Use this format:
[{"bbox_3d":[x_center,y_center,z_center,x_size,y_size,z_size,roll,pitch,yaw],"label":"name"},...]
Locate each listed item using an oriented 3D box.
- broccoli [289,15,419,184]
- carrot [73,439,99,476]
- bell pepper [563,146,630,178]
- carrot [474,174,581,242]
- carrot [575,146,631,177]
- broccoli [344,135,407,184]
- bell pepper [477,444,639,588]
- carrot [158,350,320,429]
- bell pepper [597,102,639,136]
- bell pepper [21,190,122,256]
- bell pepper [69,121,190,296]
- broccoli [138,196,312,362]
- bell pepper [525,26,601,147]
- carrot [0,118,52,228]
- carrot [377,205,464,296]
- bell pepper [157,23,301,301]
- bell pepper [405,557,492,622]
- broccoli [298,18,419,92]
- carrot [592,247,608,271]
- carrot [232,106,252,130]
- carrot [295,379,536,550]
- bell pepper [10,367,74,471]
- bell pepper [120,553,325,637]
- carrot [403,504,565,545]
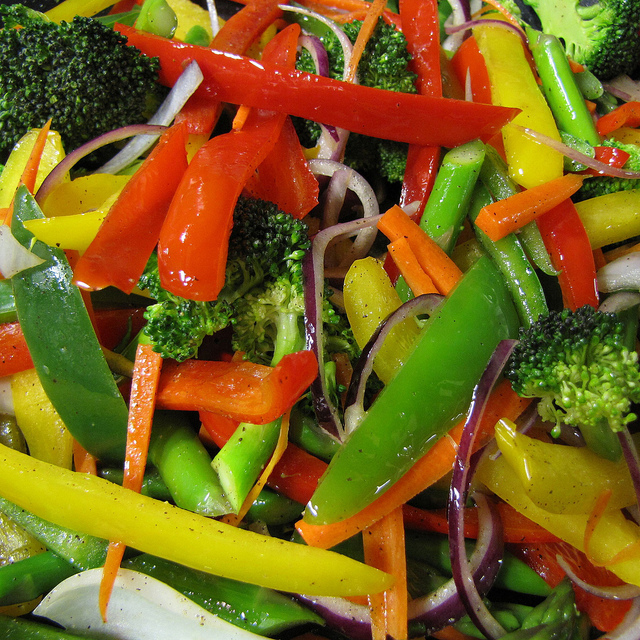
[{"bbox_3d":[0.125,-0.532,1.909,0.301,0.407,0.177,-22,-13,39],"label":"broccoli"},{"bbox_3d":[-0.500,0.287,1.721,0.023,0.083,0.024,-38,4,15],"label":"carrot"},{"bbox_3d":[0.630,-0.359,1.796,0.115,0.030,0.078,22,66,30],"label":"bell pepper"},{"bbox_3d":[0.452,-0.241,1.730,0.184,0.047,0.050,-31,57,-13],"label":"carrot"},{"bbox_3d":[0.641,-0.363,1.794,0.078,0.074,0.031,-26,18,13],"label":"carrot"},{"bbox_3d":[0.133,-0.397,1.931,0.130,0.060,0.098,20,-1,27],"label":"broccoli"},{"bbox_3d":[0.500,0.392,1.657,0.360,0.103,0.095,36,32,4],"label":"bell pepper"},{"bbox_3d":[-0.170,0.119,1.619,0.302,0.119,0.167,6,45,3],"label":"carrot"},{"bbox_3d":[0.726,-0.489,1.938,0.130,0.073,0.048,-12,30,-16],"label":"bell pepper"},{"bbox_3d":[-0.488,-0.225,1.652,0.132,0.070,0.145,-15,13,0],"label":"bell pepper"},{"bbox_3d":[-0.363,-0.198,1.529,0.164,0.116,0.400,16,71,-14],"label":"bell pepper"},{"bbox_3d":[-0.144,-0.156,1.790,0.260,0.225,0.407,6,38,-45],"label":"broccoli"},{"bbox_3d":[0.588,-0.558,1.955,0.081,0.393,0.061,-25,-17,38],"label":"bell pepper"},{"bbox_3d":[-0.628,-0.314,1.730,0.032,0.039,0.267,-3,66,43],"label":"carrot"},{"bbox_3d":[0.211,-0.133,1.756,0.122,0.070,0.215,-39,85,-12],"label":"carrot"},{"bbox_3d":[-0.197,-0.254,1.651,0.129,0.251,0.424,8,32,19],"label":"bell pepper"},{"bbox_3d":[0.269,0.556,1.666,0.060,0.052,0.240,-26,38,-30],"label":"bell pepper"},{"bbox_3d":[0.088,-0.626,1.884,0.211,0.110,0.230,-1,43,-1],"label":"broccoli"},{"bbox_3d":[0.634,-0.139,1.825,0.017,0.015,0.065,6,43,5],"label":"carrot"},{"bbox_3d":[-0.168,-0.437,1.730,0.019,0.021,0.089,15,60,10],"label":"carrot"},{"bbox_3d":[0.196,0.285,1.638,0.403,0.111,0.058,-45,41,5],"label":"carrot"},{"bbox_3d":[-0.601,0.220,1.766,0.113,0.334,0.036,-7,42,-11],"label":"bell pepper"},{"bbox_3d":[-0.198,0.550,1.622,0.327,0.064,0.093,17,28,7],"label":"bell pepper"},{"bbox_3d":[0.360,0.446,1.755,0.231,0.142,0.059,-21,44,57],"label":"carrot"}]
